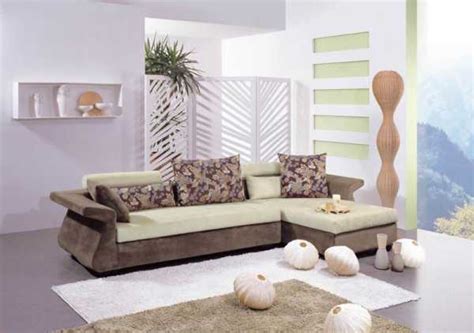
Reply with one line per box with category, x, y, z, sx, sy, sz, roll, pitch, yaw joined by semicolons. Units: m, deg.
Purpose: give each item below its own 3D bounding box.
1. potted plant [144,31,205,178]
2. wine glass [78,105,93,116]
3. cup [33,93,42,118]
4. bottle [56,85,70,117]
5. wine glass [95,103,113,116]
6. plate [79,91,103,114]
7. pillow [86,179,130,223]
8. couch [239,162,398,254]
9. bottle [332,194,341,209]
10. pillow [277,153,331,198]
potted plant;-1.183;-1.009;6.559;1.070;2.538;0.877;-3;8;-19
wine glass;-2.316;-0.859;5.510;0.183;0.139;0.199;1;4;40
cup;-2.877;-0.866;5.169;0.134;0.331;0.075;0;7;4
bottle;-2.576;-0.970;5.335;0.185;0.481;0.121;-4;8;-27
wine glass;-2.079;-0.910;5.654;0.232;0.163;0.243;-2;2;39
plate;-2.281;-0.984;5.586;0.339;0.324;0.076;-2;8;-44
pillow;-1.374;0.351;3.859;0.377;0.388;0.676;1;4;-24
couch;0.978;0.557;4.714;1.316;0.744;1.498;-2;2;-33
bottle;1.187;0.422;4.288;0.080;0.142;0.156;1;7;11
pillow;0.928;0.148;5.088;0.656;0.585;0.237;0;-7;0
